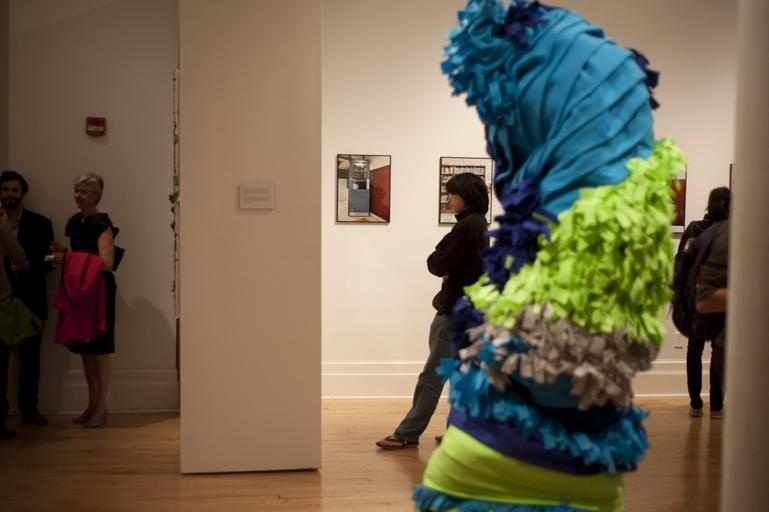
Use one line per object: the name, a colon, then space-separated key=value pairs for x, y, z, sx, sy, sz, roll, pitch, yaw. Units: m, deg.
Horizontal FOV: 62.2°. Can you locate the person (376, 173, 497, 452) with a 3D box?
person: x=0.355 y=0.394 z=4.307 sx=0.650 sy=1.905 sz=0.488 roll=1 pitch=4 yaw=15

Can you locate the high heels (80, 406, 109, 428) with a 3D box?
high heels: x=-2.189 y=1.233 z=4.874 sx=0.080 sy=0.128 sz=0.249 roll=-6 pitch=-13 yaw=19

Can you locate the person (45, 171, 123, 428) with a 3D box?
person: x=-2.270 y=0.328 z=4.866 sx=0.444 sy=1.917 sz=0.440 roll=-1 pitch=4 yaw=-25

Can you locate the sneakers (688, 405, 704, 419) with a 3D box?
sneakers: x=2.547 y=1.270 z=5.217 sx=0.053 sy=0.066 sz=0.132 roll=5 pitch=7 yaw=26

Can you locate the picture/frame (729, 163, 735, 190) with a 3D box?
picture/frame: x=1.145 y=-0.260 z=2.104 sx=0.005 sy=0.097 sz=0.903 roll=2 pitch=5 yaw=28

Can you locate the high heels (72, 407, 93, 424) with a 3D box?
high heels: x=-2.363 y=1.239 z=4.951 sx=0.234 sy=0.103 sz=0.084 roll=1 pitch=-7 yaw=-1

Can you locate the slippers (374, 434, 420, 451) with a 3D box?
slippers: x=0.093 y=1.291 z=4.487 sx=0.254 sy=0.112 sz=0.115 roll=4 pitch=-7 yaw=-5

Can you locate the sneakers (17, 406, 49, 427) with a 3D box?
sneakers: x=-2.685 y=1.232 z=4.899 sx=0.250 sy=0.109 sz=0.097 roll=2 pitch=1 yaw=15
